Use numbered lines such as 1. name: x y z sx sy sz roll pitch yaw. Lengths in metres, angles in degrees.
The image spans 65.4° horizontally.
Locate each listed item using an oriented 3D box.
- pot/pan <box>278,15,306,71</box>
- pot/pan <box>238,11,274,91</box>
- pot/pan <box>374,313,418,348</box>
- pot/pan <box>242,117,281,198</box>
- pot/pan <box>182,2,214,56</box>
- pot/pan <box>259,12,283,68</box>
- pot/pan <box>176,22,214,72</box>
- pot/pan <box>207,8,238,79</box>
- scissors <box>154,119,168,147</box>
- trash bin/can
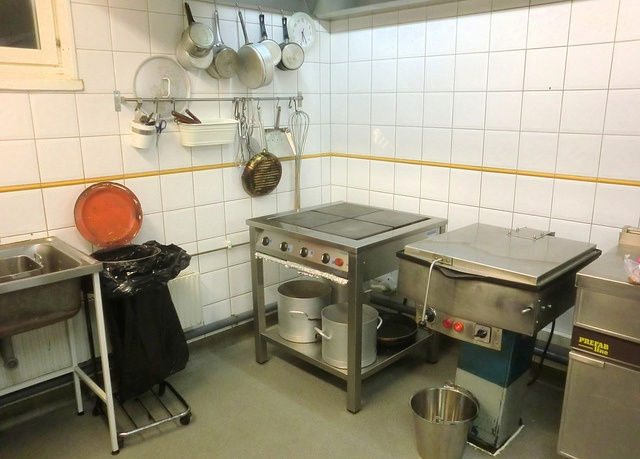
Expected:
1. pot/pan: -0.189 -1.257 3.373 0.171 0.342 0.050 -16 12 -37
2. pot/pan: -0.432 -1.148 3.177 0.197 0.486 0.275 -10 20 -23
3. pot/pan: 0.494 0.636 3.181 0.246 0.083 0.378 2 19 11
4. pot/pan: -0.396 -0.498 3.394 0.056 0.520 0.292 7 15 37
5. pot/pan: -0.733 -1.194 2.967 0.190 0.309 0.181 -6 19 -12
6. pot/pan: -0.335 -1.228 3.278 0.161 0.342 0.047 -16 3 -43
7. pot/pan: -0.742 -1.072 2.971 0.173 0.306 0.120 6 -30 -28
8. pot/pan: -0.602 -1.154 3.093 0.061 0.384 0.196 1 14 36
9. scissors: -0.955 -0.595 2.995 0.007 0.139 0.072 6 1 42
10. trash bin/can: -1.022 0.316 2.826 0.537 1.126 0.494 -11 21 -26
